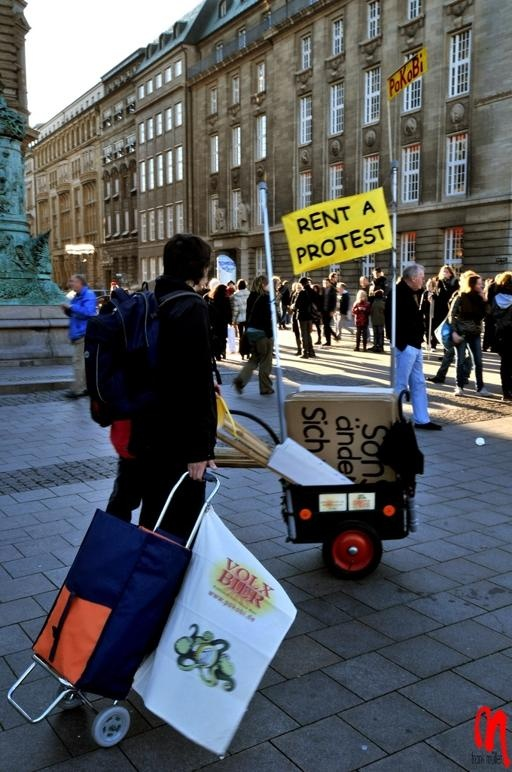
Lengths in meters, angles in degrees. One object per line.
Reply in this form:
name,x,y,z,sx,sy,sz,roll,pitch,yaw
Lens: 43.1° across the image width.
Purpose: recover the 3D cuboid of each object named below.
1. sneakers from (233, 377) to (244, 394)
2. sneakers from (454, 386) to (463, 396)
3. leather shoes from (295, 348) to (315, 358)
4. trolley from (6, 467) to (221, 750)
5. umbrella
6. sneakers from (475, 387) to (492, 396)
sneakers,-0.284,0.018,10.300,0.149,0.271,0.131,1,33,3
sneakers,3.070,0.095,9.891,0.105,0.181,0.190,-5,-7,26
leather shoes,1.196,-0.773,15.607,0.223,0.150,0.393,-1,12,-10
trolley,-0.498,0.783,2.222,0.450,0.950,0.519,25,1,43
umbrella,0.738,0.278,3.261,0.211,0.404,0.228,4,7,37
sneakers,3.487,0.076,9.954,0.211,0.153,0.373,2,6,19
